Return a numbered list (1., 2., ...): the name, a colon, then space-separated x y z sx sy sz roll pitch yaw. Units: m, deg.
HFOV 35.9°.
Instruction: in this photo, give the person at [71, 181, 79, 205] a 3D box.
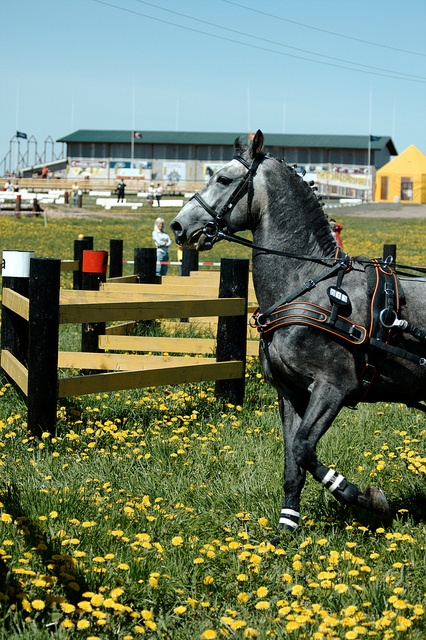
1. person: -10.073 -9.329 48.256 0.415 1.716 1.309 0 8 -13
